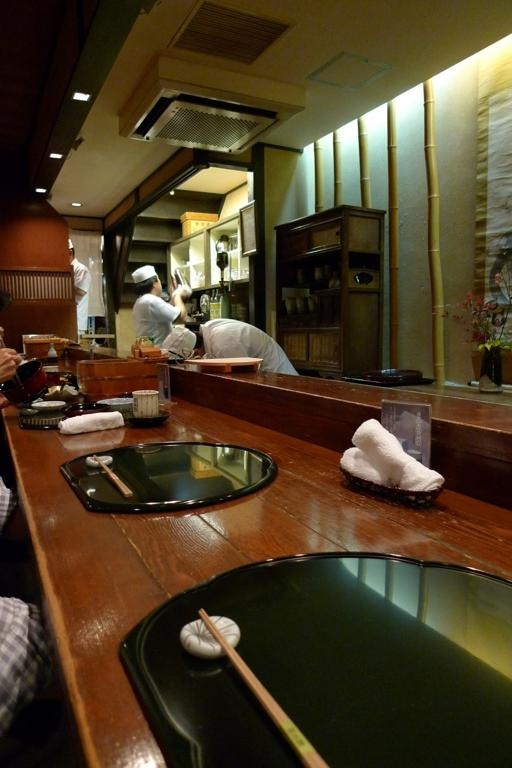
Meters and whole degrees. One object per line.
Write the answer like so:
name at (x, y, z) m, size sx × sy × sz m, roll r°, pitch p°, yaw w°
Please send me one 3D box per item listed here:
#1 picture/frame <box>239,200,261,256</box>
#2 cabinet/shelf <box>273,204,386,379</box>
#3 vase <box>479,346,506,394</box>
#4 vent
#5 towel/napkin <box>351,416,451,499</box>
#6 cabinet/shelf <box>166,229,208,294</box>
picture/frame at (-0.053, -1.437, 4.646) m, size 0.057 × 0.608 × 0.547 m, roll -2°, pitch 3°, yaw -16°
cabinet/shelf at (0.619, -0.720, 4.179) m, size 0.493 × 1.301 × 0.959 m, roll -3°, pitch 5°, yaw -29°
vase at (1.072, -0.071, 2.302) m, size 0.091 × 0.202 × 0.179 m, roll 1°, pitch 5°, yaw 25°
vent at (-0.335, -1.779, 3.340) m, size 0.942 × 0.235 × 0.954 m, roll -4°, pitch 6°, yaw -30°
towel/napkin at (0.234, 0.124, 0.882) m, size 0.051 × 0.113 × 0.185 m, roll -4°, pitch 6°, yaw -38°
cabinet/shelf at (-0.753, -1.591, 6.717) m, size 0.339 × 0.698 × 1.070 m, roll -10°, pitch 10°, yaw -29°
